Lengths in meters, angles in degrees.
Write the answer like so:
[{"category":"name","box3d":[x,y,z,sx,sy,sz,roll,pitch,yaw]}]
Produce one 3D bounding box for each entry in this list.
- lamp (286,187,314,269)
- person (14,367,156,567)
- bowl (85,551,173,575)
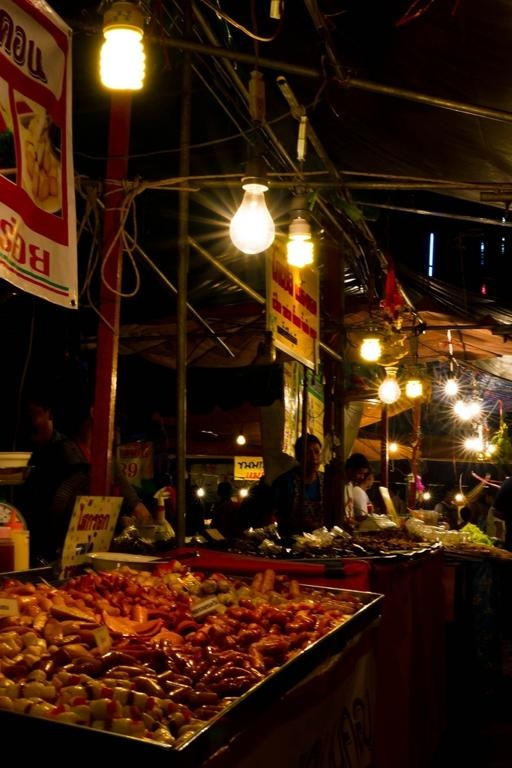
[{"category":"lamp","box3d":[0.274,-0.973,3.985,0.171,0.436,0.165,6,13,25]},{"category":"person","box3d":[-1.209,0.487,4.343,0.650,1.475,2.128,5,-12,-20]},{"category":"bowl","box3d":[-0.490,0.718,2.634,0.364,0.063,0.319,8,-13,-35]}]
